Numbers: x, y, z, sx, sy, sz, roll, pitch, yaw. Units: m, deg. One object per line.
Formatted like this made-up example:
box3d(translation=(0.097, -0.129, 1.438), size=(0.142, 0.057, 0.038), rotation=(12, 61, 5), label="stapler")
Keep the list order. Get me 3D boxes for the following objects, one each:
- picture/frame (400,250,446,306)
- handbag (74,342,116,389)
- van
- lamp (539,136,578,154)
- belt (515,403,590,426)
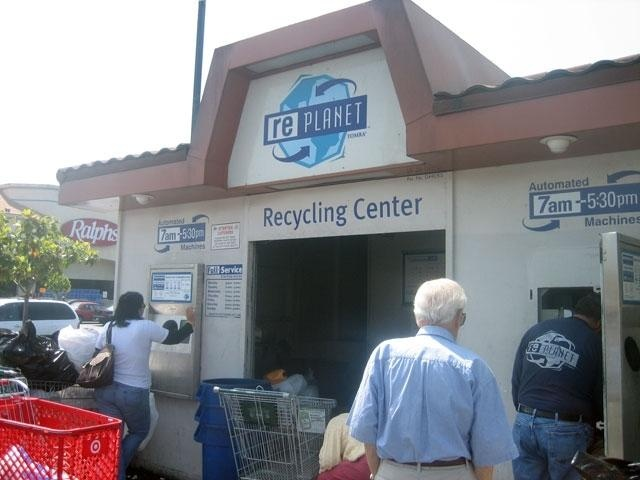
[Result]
box3d(translation=(1.332, 0.444, 7.256), size=(0.120, 1.023, 0.845), rotation=(2, -2, -42), label="picture/frame")
box3d(translation=(-2.299, 1.309, 5.782), size=(0.427, 0.478, 0.208), rotation=(-22, -49, 35), label="handbag")
box3d(translation=(-7.220, 1.942, 14.403), size=(0.995, 0.937, 2.074), rotation=(-1, -10, 10), label="van")
box3d(translation=(1.895, -0.766, 4.481), size=(0.271, 0.088, 0.262), rotation=(-4, -11, 27), label="lamp")
box3d(translation=(1.788, 1.337, 4.289), size=(0.504, 0.120, 0.141), rotation=(-3, -10, 22), label="belt")
